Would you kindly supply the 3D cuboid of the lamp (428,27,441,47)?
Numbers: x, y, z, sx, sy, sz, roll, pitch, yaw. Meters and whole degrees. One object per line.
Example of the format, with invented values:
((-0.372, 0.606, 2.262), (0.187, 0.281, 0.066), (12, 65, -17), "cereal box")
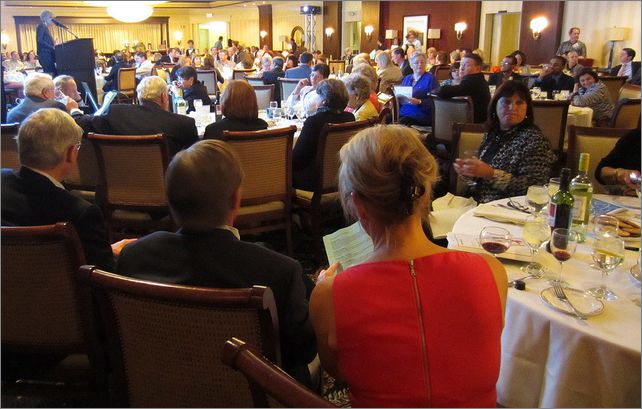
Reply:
((3.830, -5.692, 15.529), (0.409, 0.547, 0.635), (-5, 18, -12), "lamp")

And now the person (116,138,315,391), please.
((-0.340, 0.181, 2.045), (0.858, 1.168, 0.859), (3, 10, 9), "person")

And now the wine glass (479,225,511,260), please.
((0.788, 0.164, 2.073), (0.127, 0.143, 0.132), (-5, 8, -20), "wine glass")

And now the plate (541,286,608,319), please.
((1.005, 0.389, 1.846), (0.237, 0.026, 0.237), (-8, 14, -19), "plate")

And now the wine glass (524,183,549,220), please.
((1.145, 0.026, 2.426), (0.115, 0.271, 0.114), (8, 27, 31), "wine glass")

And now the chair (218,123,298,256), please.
((-0.547, -0.084, 3.667), (0.616, 1.038, 0.748), (-8, 14, -29), "chair")

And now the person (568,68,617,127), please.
((3.894, -1.488, 6.628), (0.608, 0.973, 0.515), (-2, 20, 29), "person")

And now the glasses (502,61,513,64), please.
((3.226, -2.443, 7.891), (0.175, 0.063, 0.285), (5, 19, 19), "glasses")

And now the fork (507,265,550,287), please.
((0.905, 0.313, 1.996), (0.171, 0.024, 0.028), (-24, 47, -16), "fork")

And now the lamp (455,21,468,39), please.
((4.477, -5.556, 14.581), (0.395, 0.671, 0.210), (20, 33, 39), "lamp")

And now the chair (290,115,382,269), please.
((0.103, -0.169, 3.903), (0.579, 0.968, 0.740), (0, 9, -20), "chair")

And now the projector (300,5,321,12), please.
((-0.399, -8.266, 19.401), (0.927, 0.366, 0.492), (1, 18, 6), "projector")

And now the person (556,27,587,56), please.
((6.173, -3.958, 11.268), (0.701, 0.700, 0.384), (12, 26, 35), "person")
